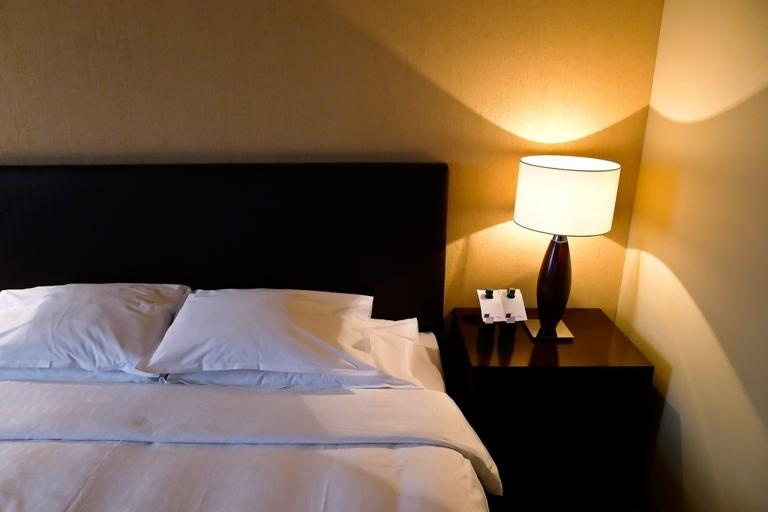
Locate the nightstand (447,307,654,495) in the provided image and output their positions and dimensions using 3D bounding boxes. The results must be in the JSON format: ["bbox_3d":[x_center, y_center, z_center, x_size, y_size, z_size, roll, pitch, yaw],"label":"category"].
[{"bbox_3d":[0.774,0.696,3.201,1.032,1.022,0.752,0,29,2],"label":"nightstand"}]

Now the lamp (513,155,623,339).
[{"bbox_3d":[0.842,-0.039,2.936,0.446,0.869,0.339,6,13,13],"label":"lamp"}]
